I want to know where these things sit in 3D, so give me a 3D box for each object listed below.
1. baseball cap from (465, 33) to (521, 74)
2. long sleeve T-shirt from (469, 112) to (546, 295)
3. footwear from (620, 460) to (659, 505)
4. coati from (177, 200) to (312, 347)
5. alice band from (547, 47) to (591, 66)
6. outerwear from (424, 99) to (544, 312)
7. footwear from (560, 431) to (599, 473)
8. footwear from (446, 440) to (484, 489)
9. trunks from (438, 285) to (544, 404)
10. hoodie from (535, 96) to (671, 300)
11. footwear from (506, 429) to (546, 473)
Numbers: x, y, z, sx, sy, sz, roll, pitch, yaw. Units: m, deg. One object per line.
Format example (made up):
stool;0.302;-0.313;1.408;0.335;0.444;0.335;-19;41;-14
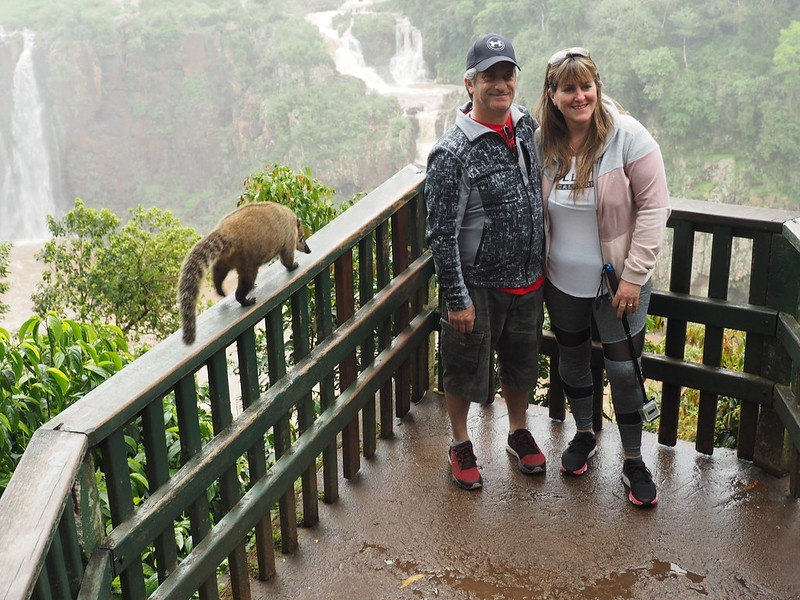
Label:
baseball cap;0.372;-0.985;2.611;0.177;0.147;0.281;-5;15;-3
long sleeve T-shirt;0.418;-0.401;2.631;0.291;0.604;0.490;11;26;32
footwear;1.005;0.762;2.762;0.108;0.123;0.288;-4;16;7
coati;-0.552;-0.157;2.258;0.197;0.238;0.688;21;39;18
alice band;0.673;-0.990;2.602;0.111;0.039;0.119;-8;-15;25
outerwear;0.356;-0.362;2.643;0.608;0.736;0.375;-28;32;-30
footwear;0.805;0.674;2.952;0.090;0.115;0.238;12;37;31
footwear;0.278;0.718;2.897;0.107;0.141;0.333;-5;14;-6
trunks;0.438;0.130;2.874;0.407;0.617;0.202;-1;17;-12
hoodie;0.796;-0.379;2.571;0.479;0.758;0.298;4;22;23
footwear;0.566;0.683;2.978;0.111;0.142;0.297;-4;15;-14
